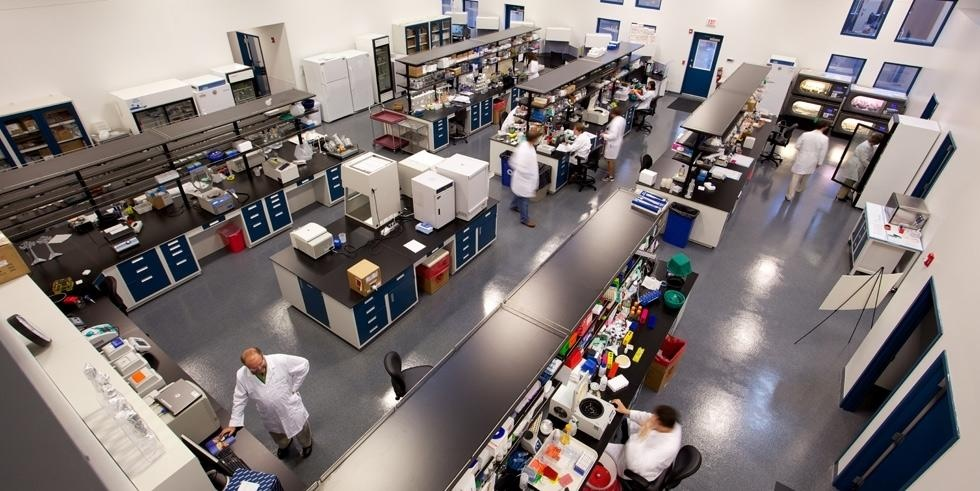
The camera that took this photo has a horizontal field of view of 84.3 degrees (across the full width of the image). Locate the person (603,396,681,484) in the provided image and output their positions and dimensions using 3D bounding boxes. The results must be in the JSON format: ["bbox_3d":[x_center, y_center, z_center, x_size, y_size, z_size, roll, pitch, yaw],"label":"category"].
[{"bbox_3d":[2.973,3.873,10.605,1.007,1.532,0.808,22,62,8],"label":"person"}]

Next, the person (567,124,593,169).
[{"bbox_3d":[2.573,-2.775,15.392,0.582,1.216,0.725,-39,60,-18],"label":"person"}]

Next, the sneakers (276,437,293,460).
[{"bbox_3d":[-4.272,4.176,11.252,0.240,0.582,0.247,3,6,11],"label":"sneakers"}]

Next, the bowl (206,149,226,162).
[{"bbox_3d":[-6.934,-2.252,13.703,0.364,0.132,0.335,1,46,-1],"label":"bowl"}]

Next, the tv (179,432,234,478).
[{"bbox_3d":[-5.202,3.890,9.879,0.778,0.837,0.195,15,56,43],"label":"tv"}]

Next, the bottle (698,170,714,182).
[{"bbox_3d":[5.701,-1.869,14.296,0.436,0.281,0.429,-3,24,1],"label":"bottle"}]

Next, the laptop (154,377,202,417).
[{"bbox_3d":[-5.982,2.883,10.382,0.678,0.442,0.593,20,34,31],"label":"laptop"}]

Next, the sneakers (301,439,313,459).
[{"bbox_3d":[-3.817,4.238,11.300,0.152,0.161,0.363,10,83,-2],"label":"sneakers"}]

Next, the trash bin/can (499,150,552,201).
[{"bbox_3d":[1.055,-1.898,14.665,1.279,0.874,0.704,31,53,26],"label":"trash bin/can"}]

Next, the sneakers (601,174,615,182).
[{"bbox_3d":[3.517,-1.977,15.912,0.380,0.146,0.157,1,49,0],"label":"sneakers"}]

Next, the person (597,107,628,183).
[{"bbox_3d":[3.610,-2.924,16.002,0.848,2.409,0.950,25,61,17],"label":"person"}]

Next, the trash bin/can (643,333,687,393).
[{"bbox_3d":[3.773,2.553,11.677,0.736,1.092,0.762,30,50,25],"label":"trash bin/can"}]

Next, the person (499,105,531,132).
[{"bbox_3d":[0.707,-3.680,15.856,0.646,0.353,1.011,24,55,24],"label":"person"}]

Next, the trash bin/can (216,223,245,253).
[{"bbox_3d":[-6.610,-0.222,13.691,0.508,0.459,0.434,32,50,26],"label":"trash bin/can"}]

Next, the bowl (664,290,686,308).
[{"bbox_3d":[4.049,1.178,11.796,0.400,0.225,0.371,-2,51,3],"label":"bowl"}]
